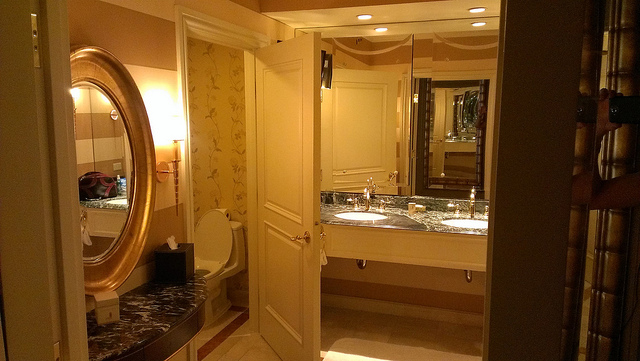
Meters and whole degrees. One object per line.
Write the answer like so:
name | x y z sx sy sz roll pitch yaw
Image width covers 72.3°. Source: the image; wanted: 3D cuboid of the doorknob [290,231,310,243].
doorknob | -0.127 0.380 2.981 0.120 0.060 0.069 1 4 -40

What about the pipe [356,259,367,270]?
pipe | 0.362 0.715 3.762 0.103 0.133 0.037 0 -35 1

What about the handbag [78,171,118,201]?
handbag | -1.166 0.028 2.344 0.218 0.143 0.076 -4 5 2

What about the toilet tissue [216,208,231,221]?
toilet tissue | -0.897 0.302 4.106 0.087 0.080 0.112 -20 28 -18

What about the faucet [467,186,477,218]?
faucet | 1.251 0.170 3.580 0.052 0.244 0.093 3 14 15

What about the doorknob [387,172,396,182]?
doorknob | 0.633 -0.032 3.847 0.073 0.059 0.051 -14 -17 -5

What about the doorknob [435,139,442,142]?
doorknob | 0.981 -0.332 3.615 0.075 0.026 0.021 2 9 18

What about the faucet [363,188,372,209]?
faucet | 0.430 0.156 3.935 0.068 0.174 0.118 -2 13 -4

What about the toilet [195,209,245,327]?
toilet | -0.879 0.760 3.935 0.448 0.939 0.534 -4 13 -14

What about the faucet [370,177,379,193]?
faucet | 0.492 0.058 3.984 0.087 0.109 0.116 0 -1 -7
